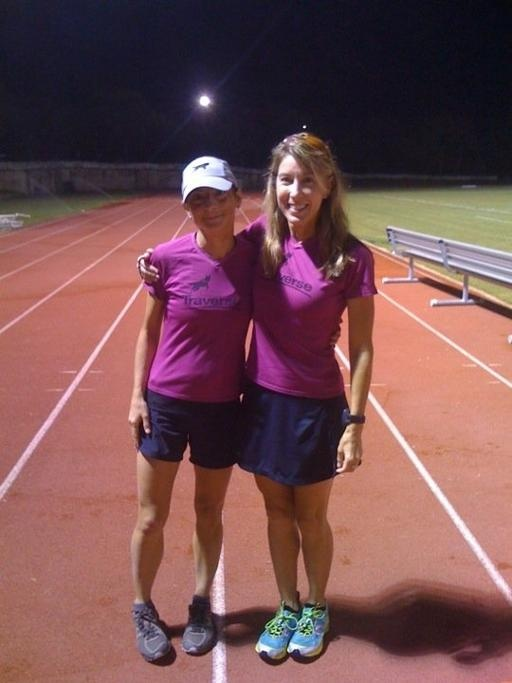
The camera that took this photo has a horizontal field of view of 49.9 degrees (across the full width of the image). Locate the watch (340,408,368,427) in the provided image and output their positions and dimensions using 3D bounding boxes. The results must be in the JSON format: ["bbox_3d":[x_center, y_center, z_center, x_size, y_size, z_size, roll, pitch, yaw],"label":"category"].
[{"bbox_3d":[0.315,0.239,1.763,0.057,0.039,0.045,3,3,17],"label":"watch"}]

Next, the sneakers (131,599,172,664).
[{"bbox_3d":[-0.366,0.977,1.900,0.089,0.117,0.237,-10,16,-16],"label":"sneakers"}]

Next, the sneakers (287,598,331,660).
[{"bbox_3d":[0.196,0.996,1.946,0.101,0.115,0.245,-4,1,24],"label":"sneakers"}]

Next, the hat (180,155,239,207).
[{"bbox_3d":[-0.168,-0.562,1.845,0.177,0.143,0.247,-4,12,-2],"label":"hat"}]

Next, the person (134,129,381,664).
[{"bbox_3d":[0.166,0.219,1.820,0.419,1.750,0.311,2,11,12],"label":"person"}]

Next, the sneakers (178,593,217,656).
[{"bbox_3d":[-0.205,1.000,1.946,0.087,0.099,0.214,1,17,0],"label":"sneakers"}]

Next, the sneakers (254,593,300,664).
[{"bbox_3d":[0.095,0.988,1.941,0.091,0.116,0.240,17,15,18],"label":"sneakers"}]
